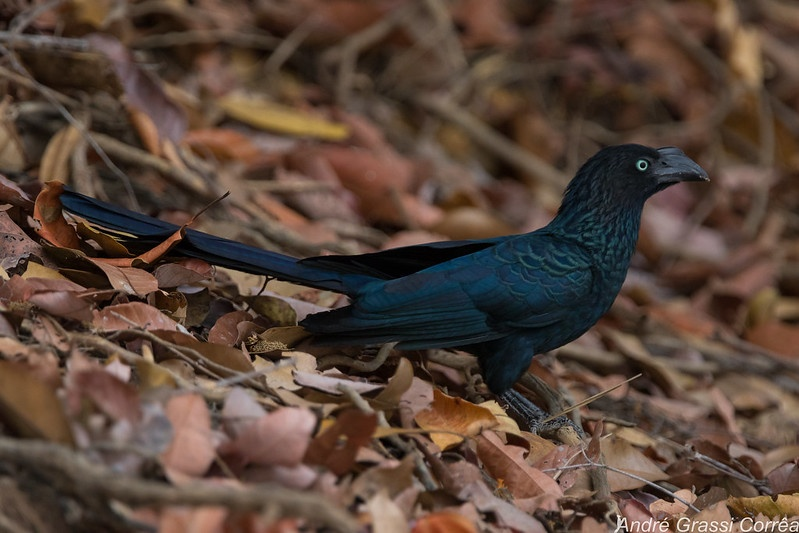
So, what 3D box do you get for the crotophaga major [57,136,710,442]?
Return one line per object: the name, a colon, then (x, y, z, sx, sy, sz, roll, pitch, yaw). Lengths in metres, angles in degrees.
crotophaga major: (0.274, -0.119, 3.349, 1.089, 1.163, 0.369, 34, -6, -17)
